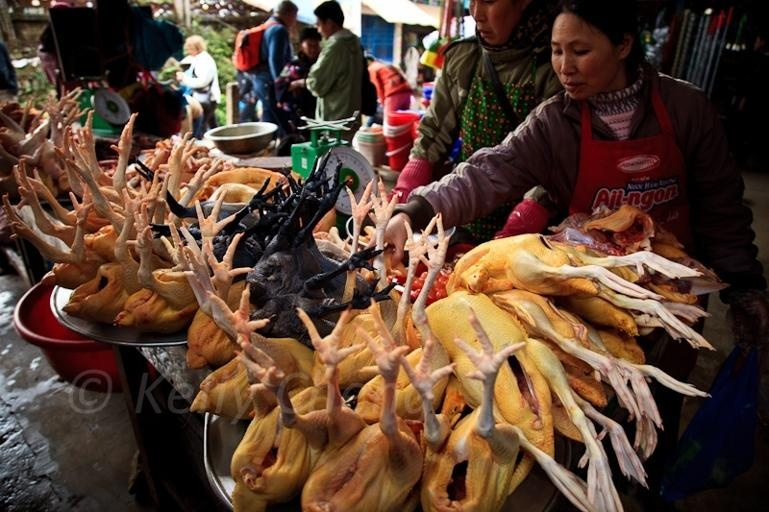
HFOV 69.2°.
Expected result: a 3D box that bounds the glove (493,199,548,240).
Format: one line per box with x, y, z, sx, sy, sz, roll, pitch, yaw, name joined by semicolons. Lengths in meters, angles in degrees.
0.671;-0.132;2.723;0.159;0.127;0.289;38;64;14;glove
